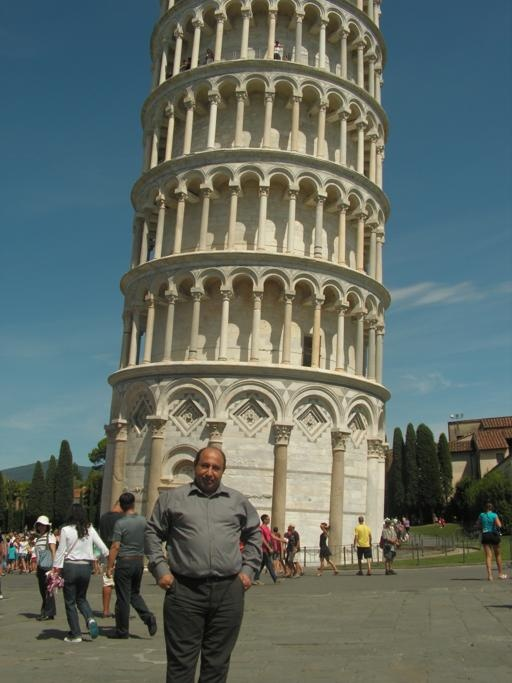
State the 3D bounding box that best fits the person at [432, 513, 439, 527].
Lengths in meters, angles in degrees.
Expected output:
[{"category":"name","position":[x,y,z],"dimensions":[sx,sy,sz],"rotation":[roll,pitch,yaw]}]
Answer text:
[{"category":"person","position":[17.483,17.092,69.531],"dimensions":[0.520,0.853,1.354],"rotation":[-2,-13,13]}]
